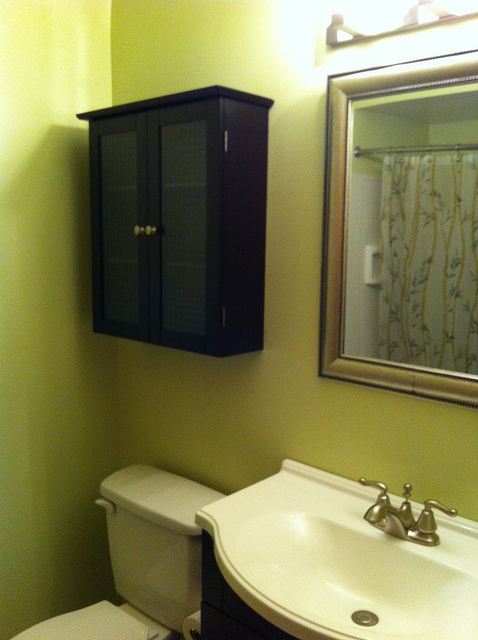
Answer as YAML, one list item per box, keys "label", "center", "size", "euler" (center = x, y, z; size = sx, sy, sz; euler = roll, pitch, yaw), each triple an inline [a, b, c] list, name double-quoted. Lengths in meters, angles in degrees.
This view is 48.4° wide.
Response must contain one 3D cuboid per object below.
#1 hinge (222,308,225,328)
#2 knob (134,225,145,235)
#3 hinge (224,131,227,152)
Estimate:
- label: "hinge"
  center: [-0.039, -0.007, 1.333]
  size: [0.003, 0.048, 0.010]
  euler: [5, 10, 37]
- label: "knob"
  center: [-0.279, -0.253, 1.498]
  size: [0.018, 0.035, 0.007]
  euler: [5, -2, 13]
- label: "hinge"
  center: [-0.032, -0.425, 1.270]
  size: [0.003, 0.046, 0.007]
  euler: [5, 10, 35]
